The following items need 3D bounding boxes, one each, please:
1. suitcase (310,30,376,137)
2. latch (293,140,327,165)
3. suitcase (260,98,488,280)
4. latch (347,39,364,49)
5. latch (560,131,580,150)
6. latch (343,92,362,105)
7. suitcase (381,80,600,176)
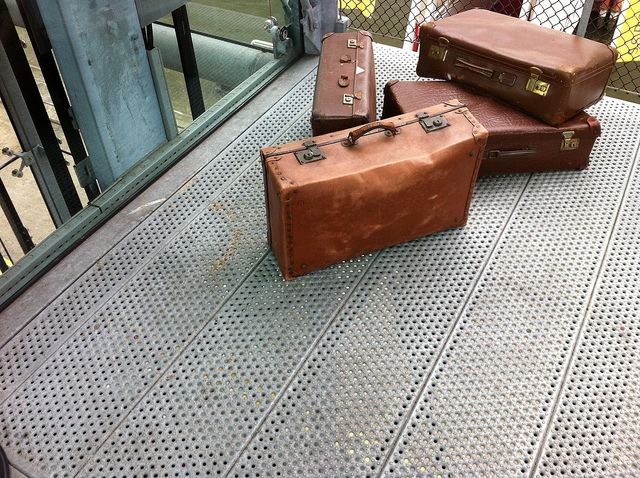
[{"bbox_3d":[0.163,-1.000,3.376,0.425,0.625,0.983,1,53,4],"label":"suitcase"},{"bbox_3d":[-0.058,-0.446,2.657,0.144,0.048,0.143,-14,41,-16],"label":"latch"},{"bbox_3d":[0.325,-0.227,2.809,0.969,0.688,0.356,-20,52,-16],"label":"suitcase"},{"bbox_3d":[0.255,-1.388,3.698,0.099,0.023,0.075,5,62,0],"label":"latch"},{"bbox_3d":[1.561,-0.617,3.211,0.088,0.085,0.052,1,50,4],"label":"latch"},{"bbox_3d":[0.205,-0.880,3.236,0.097,0.024,0.079,2,65,6],"label":"latch"},{"bbox_3d":[1.143,-0.756,3.511,1.027,0.284,1.076,-2,34,-10],"label":"suitcase"}]
